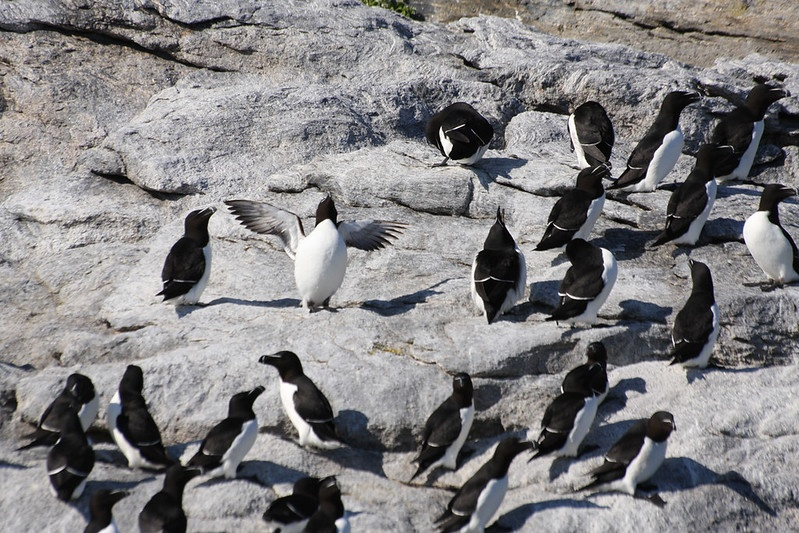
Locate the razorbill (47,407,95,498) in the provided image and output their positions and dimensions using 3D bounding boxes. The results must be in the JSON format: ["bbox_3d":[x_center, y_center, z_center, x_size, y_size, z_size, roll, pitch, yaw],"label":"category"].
[{"bbox_3d":[-4.549,2.606,16.122,0.446,1.266,0.486,5,-15,-18],"label":"razorbill"}]
